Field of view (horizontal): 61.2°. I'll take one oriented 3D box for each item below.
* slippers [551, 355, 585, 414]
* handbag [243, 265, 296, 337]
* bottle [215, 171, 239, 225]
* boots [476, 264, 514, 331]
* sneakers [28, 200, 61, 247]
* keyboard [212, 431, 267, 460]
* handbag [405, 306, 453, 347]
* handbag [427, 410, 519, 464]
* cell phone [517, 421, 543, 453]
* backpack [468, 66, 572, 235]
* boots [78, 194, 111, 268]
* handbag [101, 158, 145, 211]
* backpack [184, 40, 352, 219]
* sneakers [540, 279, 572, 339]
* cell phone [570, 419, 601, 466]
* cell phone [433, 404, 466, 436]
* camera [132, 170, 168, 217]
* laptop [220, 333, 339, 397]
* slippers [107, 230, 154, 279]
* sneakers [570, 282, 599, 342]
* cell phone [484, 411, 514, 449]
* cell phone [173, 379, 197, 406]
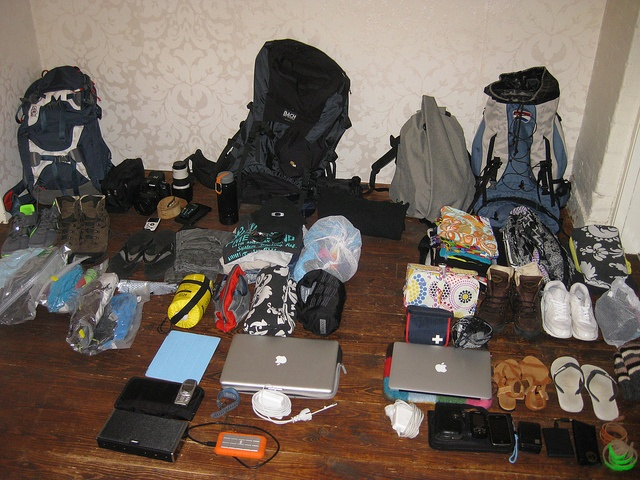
[{"bbox_3d":[1.198,0.698,2.625,0.149,0.176,0.247,5,15,9],"label":"slippers"},{"bbox_3d":[-0.254,0.326,2.834,0.266,0.291,0.335,3,15,1],"label":"handbag"},{"bbox_3d":[-0.592,-0.263,3.465,0.138,0.348,0.166,0,15,-8],"label":"bottle"},{"bbox_3d":[0.940,0.304,2.881,0.140,0.242,0.395,7,54,21],"label":"boots"},{"bbox_3d":[-1.648,-0.087,3.268,0.116,0.127,0.317,-1,53,-13],"label":"sneakers"},{"bbox_3d":[-0.351,0.898,2.385,0.184,0.044,0.101,5,43,3],"label":"keyboard"},{"bbox_3d":[0.545,0.436,2.727,0.228,0.171,0.149,5,15,11],"label":"handbag"},{"bbox_3d":[0.686,0.880,2.459,0.352,0.115,0.204,3,53,3],"label":"handbag"},{"bbox_3d":[0.937,0.891,2.429,0.111,0.107,0.094,7,16,16],"label":"cell phone"},{"bbox_3d":[1.252,-0.559,3.404,0.617,1.037,0.366,0,-1,15],"label":"backpack"},{"bbox_3d":[-1.375,-0.068,3.282,0.182,0.380,0.223,-4,16,-21],"label":"boots"},{"bbox_3d":[-1.312,-0.356,3.599,0.179,0.198,0.346,6,50,5],"label":"handbag"},{"bbox_3d":[-0.320,-0.740,3.531,0.833,0.820,0.439,26,39,-8],"label":"backpack"},{"bbox_3d":[1.237,0.364,2.887,0.122,0.125,0.311,0,38,14],"label":"sneakers"},{"bbox_3d":[1.185,0.912,2.416,0.105,0.135,0.151,5,15,10],"label":"cell phone"},{"bbox_3d":[0.577,0.805,2.424,0.109,0.037,0.109,4,53,9],"label":"cell phone"},{"bbox_3d":[-1.133,-0.326,3.656,0.234,0.153,0.256,0,37,-1],"label":"camera"},{"bbox_3d":[-0.191,0.585,2.578,0.443,0.089,0.270,4,40,2],"label":"laptop"},{"bbox_3d":[-1.107,0.095,3.216,0.147,0.093,0.350,25,69,19],"label":"slippers"},{"bbox_3d":[1.353,0.373,2.850,0.113,0.118,0.320,-3,44,14],"label":"sneakers"},{"bbox_3d":[0.800,0.847,2.405,0.112,0.101,0.102,6,15,12],"label":"cell phone"},{"bbox_3d":[-0.629,0.713,2.532,0.079,0.086,0.103,4,15,7],"label":"cell phone"}]
